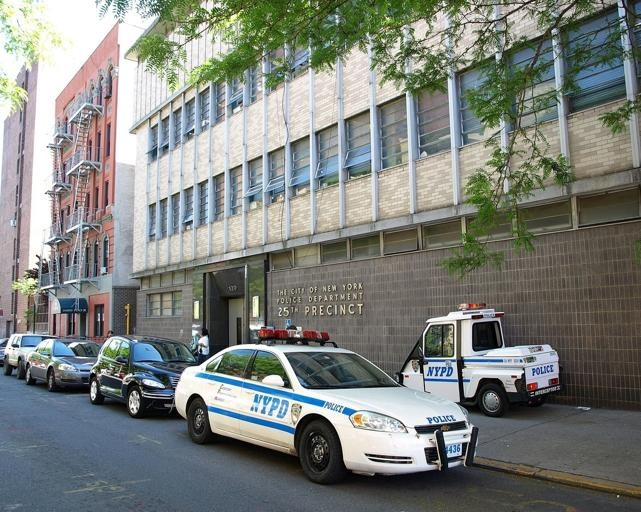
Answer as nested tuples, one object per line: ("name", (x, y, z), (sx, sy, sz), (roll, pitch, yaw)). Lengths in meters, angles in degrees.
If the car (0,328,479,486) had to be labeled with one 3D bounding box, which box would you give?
("car", (-0.206, 2.316, 8.877), (1.909, 1.353, 5.350), (0, -1, -44))
